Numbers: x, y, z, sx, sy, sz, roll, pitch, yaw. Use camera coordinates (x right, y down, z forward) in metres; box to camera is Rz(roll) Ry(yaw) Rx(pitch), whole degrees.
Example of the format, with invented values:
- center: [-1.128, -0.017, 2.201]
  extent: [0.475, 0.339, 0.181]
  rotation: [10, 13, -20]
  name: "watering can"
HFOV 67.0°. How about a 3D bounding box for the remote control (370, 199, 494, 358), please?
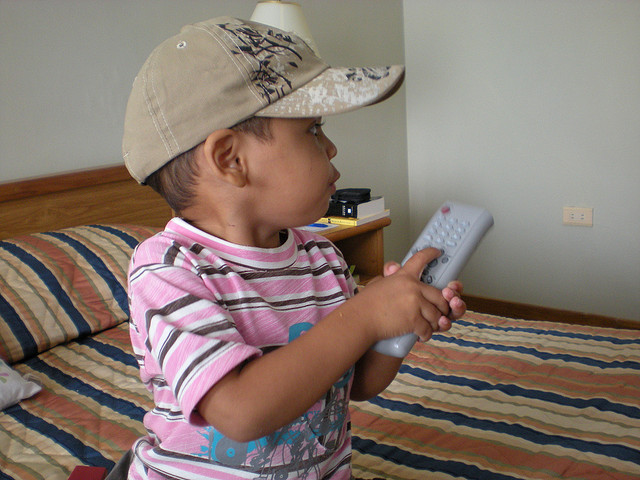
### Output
- center: [0.226, 0.045, 0.926]
  extent: [0.133, 0.110, 0.430]
  rotation: [14, 60, 38]
  name: "remote control"
